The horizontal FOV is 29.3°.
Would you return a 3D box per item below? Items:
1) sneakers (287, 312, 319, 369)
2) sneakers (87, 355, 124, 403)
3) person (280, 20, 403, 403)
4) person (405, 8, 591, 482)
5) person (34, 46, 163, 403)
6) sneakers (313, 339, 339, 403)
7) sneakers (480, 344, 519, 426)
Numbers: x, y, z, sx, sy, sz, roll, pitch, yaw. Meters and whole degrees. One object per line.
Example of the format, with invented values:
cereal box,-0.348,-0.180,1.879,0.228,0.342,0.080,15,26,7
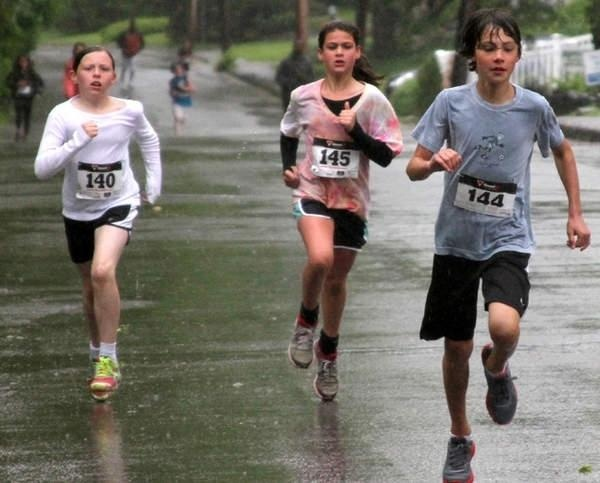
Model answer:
sneakers,0.000,0.632,7.124,0.140,0.140,0.371,22,16,-13
sneakers,-1.184,0.818,6.949,0.173,0.251,0.238,-3,11,-11
person,0.252,-0.192,7.029,0.717,2.232,0.741,-1,12,-1
person,1.072,0.003,6.079,0.911,2.387,0.730,-4,12,-15
person,-1.291,-0.129,7.067,0.724,2.071,0.841,1,12,10
sneakers,0.132,0.793,7.006,0.132,0.133,0.326,5,44,-22
sneakers,1.083,0.786,6.248,0.203,0.416,0.182,-10,17,3
